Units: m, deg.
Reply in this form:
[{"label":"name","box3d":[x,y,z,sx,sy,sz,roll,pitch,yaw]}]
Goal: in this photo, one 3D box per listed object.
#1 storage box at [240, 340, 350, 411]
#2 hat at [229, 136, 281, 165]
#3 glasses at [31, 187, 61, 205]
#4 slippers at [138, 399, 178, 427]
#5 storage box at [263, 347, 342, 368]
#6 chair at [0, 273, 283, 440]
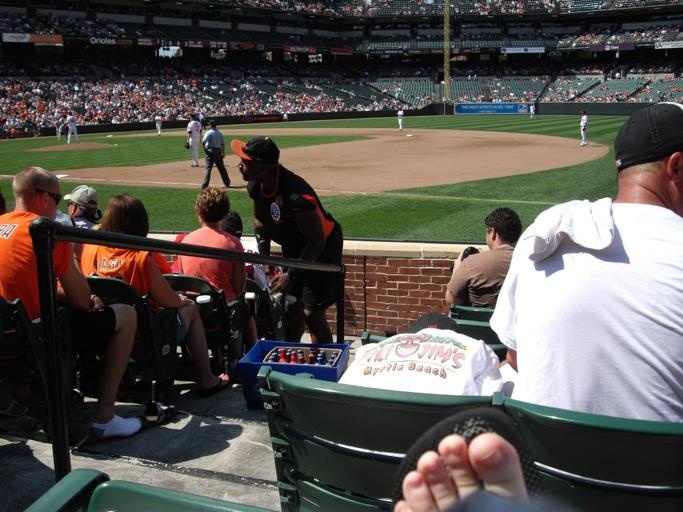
[{"label":"storage box","box3d":[-0.323,0.653,3.925,0.473,0.336,0.717,1,0,1]},{"label":"hat","box3d":[-0.636,-0.705,4.364,0.339,0.141,0.237,21,34,20]},{"label":"glasses","box3d":[-1.638,-0.319,3.464,0.095,0.028,0.089,18,2,-5]},{"label":"slippers","box3d":[-1.067,0.908,3.643,0.098,0.090,0.251,-17,-9,17]},{"label":"storage box","box3d":[-0.243,0.637,3.927,0.299,0.070,0.273,1,1,7]},{"label":"chair","box3d":[-1.216,0.534,3.398,0.707,0.785,0.950,2,12,9]}]
